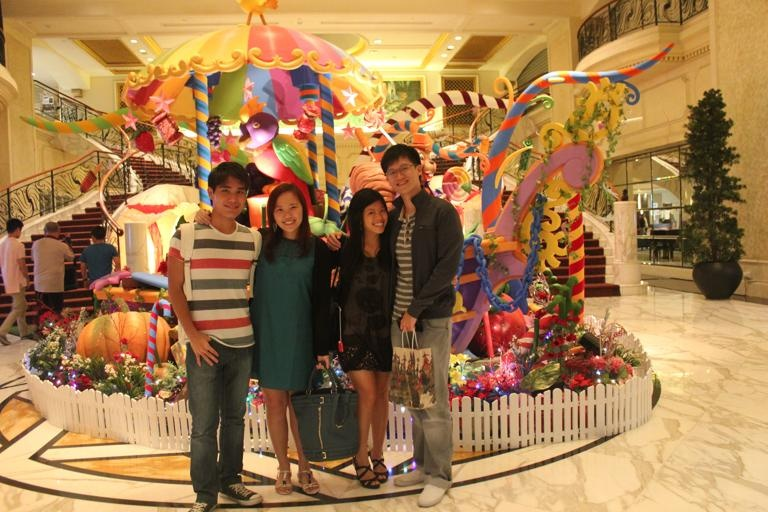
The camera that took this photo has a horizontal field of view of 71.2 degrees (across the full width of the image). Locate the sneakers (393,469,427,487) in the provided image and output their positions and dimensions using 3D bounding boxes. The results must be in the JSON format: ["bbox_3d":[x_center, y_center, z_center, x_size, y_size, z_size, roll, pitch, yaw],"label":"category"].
[{"bbox_3d":[0.230,1.894,4.564,0.247,0.101,0.126,4,1,-5],"label":"sneakers"}]

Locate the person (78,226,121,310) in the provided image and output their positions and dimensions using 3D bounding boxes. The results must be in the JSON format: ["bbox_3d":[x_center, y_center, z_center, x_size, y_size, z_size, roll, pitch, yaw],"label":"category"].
[{"bbox_3d":[-4.516,0.000,8.473,0.551,0.910,0.601,-5,12,-17],"label":"person"}]

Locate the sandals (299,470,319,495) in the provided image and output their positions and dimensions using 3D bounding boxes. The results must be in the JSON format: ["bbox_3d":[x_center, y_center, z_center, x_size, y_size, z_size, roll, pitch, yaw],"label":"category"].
[{"bbox_3d":[-0.626,1.906,4.472,0.110,0.098,0.245,0,18,-7],"label":"sandals"}]

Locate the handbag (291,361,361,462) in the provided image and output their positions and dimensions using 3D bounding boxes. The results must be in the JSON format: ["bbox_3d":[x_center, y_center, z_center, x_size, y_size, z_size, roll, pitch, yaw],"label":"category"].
[{"bbox_3d":[-0.476,1.394,4.733,0.622,0.823,0.368,-8,-11,18],"label":"handbag"}]

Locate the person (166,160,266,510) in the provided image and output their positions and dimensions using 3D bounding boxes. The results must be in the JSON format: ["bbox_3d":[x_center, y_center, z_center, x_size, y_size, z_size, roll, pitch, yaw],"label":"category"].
[{"bbox_3d":[-1.306,0.657,4.313,0.727,2.745,0.494,-7,12,-23],"label":"person"}]

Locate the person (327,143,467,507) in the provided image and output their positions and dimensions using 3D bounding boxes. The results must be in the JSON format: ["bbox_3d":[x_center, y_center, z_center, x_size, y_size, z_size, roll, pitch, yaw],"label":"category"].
[{"bbox_3d":[0.303,0.532,4.441,0.650,2.862,0.703,-12,15,-41],"label":"person"}]

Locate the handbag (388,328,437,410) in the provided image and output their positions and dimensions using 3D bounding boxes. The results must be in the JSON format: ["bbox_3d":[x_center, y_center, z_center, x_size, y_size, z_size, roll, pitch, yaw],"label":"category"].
[{"bbox_3d":[0.231,0.918,4.310,0.334,0.571,0.161,-1,11,5],"label":"handbag"}]

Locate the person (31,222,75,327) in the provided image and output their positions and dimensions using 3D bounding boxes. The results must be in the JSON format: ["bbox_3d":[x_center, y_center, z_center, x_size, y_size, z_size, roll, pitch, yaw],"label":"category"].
[{"bbox_3d":[-5.334,0.237,8.705,0.602,1.526,0.999,-9,13,-32],"label":"person"}]

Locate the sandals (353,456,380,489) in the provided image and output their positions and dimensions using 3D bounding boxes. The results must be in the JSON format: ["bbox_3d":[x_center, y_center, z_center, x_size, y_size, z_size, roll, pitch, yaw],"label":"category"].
[{"bbox_3d":[-0.152,1.858,4.542,0.112,0.089,0.320,-1,0,-18],"label":"sandals"}]

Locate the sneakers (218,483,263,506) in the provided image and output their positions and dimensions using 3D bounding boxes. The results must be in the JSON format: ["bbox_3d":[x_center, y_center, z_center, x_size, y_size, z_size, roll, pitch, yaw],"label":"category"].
[{"bbox_3d":[-1.187,1.958,4.446,0.373,0.142,0.145,2,9,33],"label":"sneakers"}]
